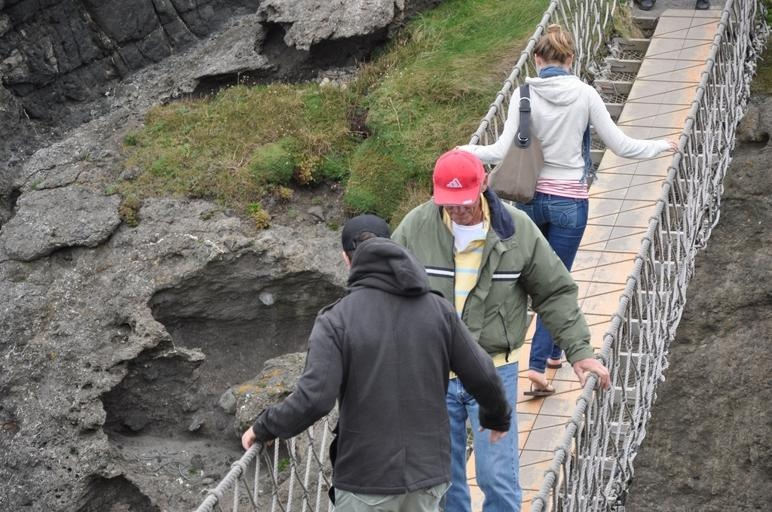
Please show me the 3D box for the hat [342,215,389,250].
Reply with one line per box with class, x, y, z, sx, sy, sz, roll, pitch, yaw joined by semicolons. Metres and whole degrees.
hat;-0.248;-0.265;15.199;0.539;0.392;0.863;-2;2;2
